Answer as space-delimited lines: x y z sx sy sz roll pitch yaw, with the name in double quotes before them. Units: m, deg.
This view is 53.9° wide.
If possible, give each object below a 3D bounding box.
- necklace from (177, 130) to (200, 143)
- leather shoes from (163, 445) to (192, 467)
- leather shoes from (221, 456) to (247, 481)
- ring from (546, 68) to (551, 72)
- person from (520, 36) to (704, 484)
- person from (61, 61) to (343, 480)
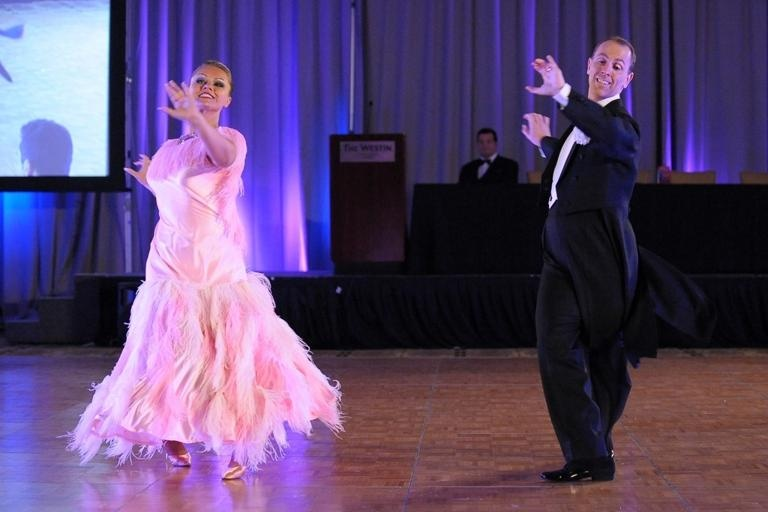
"necklace" -1.065 -0.656 4.168 0.107 0.027 0.108 -7 3 3
"leather shoes" -1.140 1.100 4.179 0.072 0.081 0.195 -2 -1 -36
"leather shoes" -0.826 1.135 4.052 0.149 0.088 0.115 4 10 31
"ring" 0.821 -0.914 3.724 0.018 0.022 0.008 1 9 12
"person" 1.174 0.026 3.948 0.835 2.274 0.422 0 9 10
"person" -0.973 0.070 4.057 1.348 2.207 0.549 -2 9 -5
